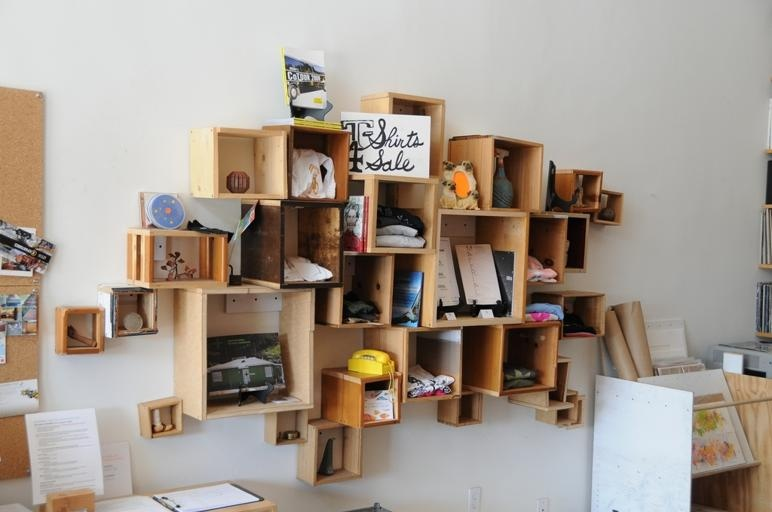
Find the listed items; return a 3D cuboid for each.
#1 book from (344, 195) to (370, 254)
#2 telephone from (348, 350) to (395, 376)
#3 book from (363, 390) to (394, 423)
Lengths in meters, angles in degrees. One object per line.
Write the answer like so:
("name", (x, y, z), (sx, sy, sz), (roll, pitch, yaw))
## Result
("book", (-0.151, -0.163, 3.518), (0.053, 0.374, 0.291), (-1, 4, -33))
("telephone", (-0.082, 0.570, 3.668), (0.221, 0.103, 0.122), (2, 1, 30))
("book", (-0.035, 0.809, 3.629), (0.159, 0.158, 0.082), (-1, 5, -1))
